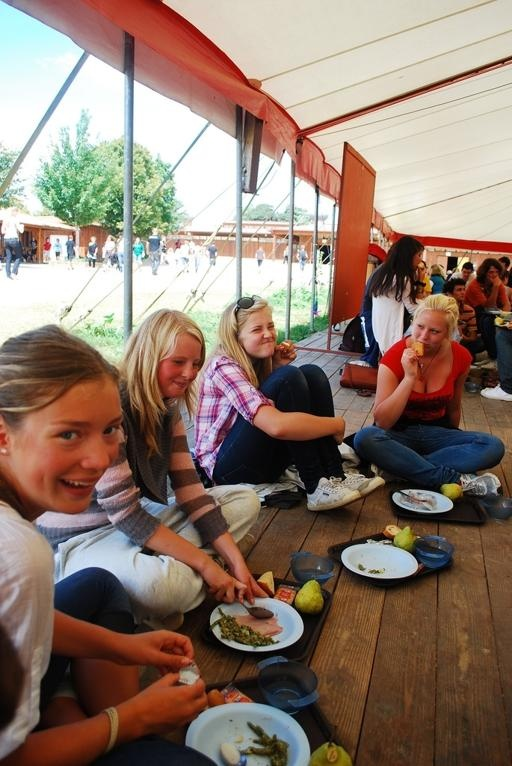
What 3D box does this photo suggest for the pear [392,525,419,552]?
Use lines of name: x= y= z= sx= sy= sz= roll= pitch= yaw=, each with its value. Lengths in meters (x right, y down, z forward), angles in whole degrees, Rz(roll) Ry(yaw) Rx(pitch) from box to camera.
pear: x=0.547 y=0.575 z=1.891 sx=0.083 sy=0.104 sz=0.082 roll=19 pitch=-14 yaw=-39

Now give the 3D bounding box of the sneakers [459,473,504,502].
sneakers: x=1.074 y=0.492 z=2.459 sx=0.241 sy=0.086 sz=0.113 roll=2 pitch=-2 yaw=41

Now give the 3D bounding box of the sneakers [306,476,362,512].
sneakers: x=0.316 y=0.481 z=2.217 sx=0.229 sy=0.102 sz=0.109 roll=-19 pitch=-4 yaw=42

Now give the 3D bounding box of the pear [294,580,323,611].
pear: x=0.158 y=0.643 z=1.569 sx=0.084 sy=0.081 sz=0.108 roll=11 pitch=49 yaw=5

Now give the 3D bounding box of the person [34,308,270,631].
person: x=-0.279 y=0.172 z=1.918 sx=0.893 sy=1.098 sz=0.929 roll=0 pitch=8 yaw=6

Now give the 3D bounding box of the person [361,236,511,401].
person: x=1.304 y=-0.778 z=4.900 sx=1.313 sy=2.185 sz=0.965 roll=-1 pitch=42 yaw=2

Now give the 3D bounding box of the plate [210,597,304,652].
plate: x=0.023 y=0.679 z=1.453 sx=0.208 sy=0.028 sz=0.204 roll=6 pitch=11 yaw=-13

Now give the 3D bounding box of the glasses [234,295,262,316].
glasses: x=-0.038 y=-0.350 z=2.290 sx=0.091 sy=0.030 sz=0.091 roll=-31 pitch=-12 yaw=36

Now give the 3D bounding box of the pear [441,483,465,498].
pear: x=0.926 y=0.506 z=2.421 sx=0.081 sy=0.065 sz=0.061 roll=11 pitch=42 yaw=40

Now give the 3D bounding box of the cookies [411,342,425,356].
cookies: x=0.818 y=-0.172 z=2.603 sx=0.070 sy=0.064 sz=0.019 roll=-11 pitch=9 yaw=-30

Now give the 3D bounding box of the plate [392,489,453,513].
plate: x=0.759 y=0.545 z=2.319 sx=0.277 sy=0.059 sz=0.185 roll=2 pitch=9 yaw=-2

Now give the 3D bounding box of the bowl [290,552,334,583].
bowl: x=0.186 y=0.613 z=1.695 sx=0.091 sy=0.047 sz=0.129 roll=-1 pitch=8 yaw=-9

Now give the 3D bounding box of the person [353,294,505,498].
person: x=0.894 y=0.023 z=2.992 sx=0.913 sy=1.128 sz=1.009 roll=-1 pitch=2 yaw=9

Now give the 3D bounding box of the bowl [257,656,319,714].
bowl: x=0.064 y=0.676 z=1.106 sx=0.123 sy=0.066 sz=0.145 roll=1 pitch=13 yaw=-3

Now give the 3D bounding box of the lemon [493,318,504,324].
lemon: x=2.498 y=-0.626 z=5.277 sx=0.082 sy=0.078 sz=0.081 roll=-1 pitch=6 yaw=-11

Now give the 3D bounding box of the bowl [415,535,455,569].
bowl: x=0.639 y=0.609 z=1.850 sx=0.111 sy=0.056 sz=0.115 roll=0 pitch=12 yaw=0

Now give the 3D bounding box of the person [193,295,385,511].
person: x=0.135 y=0.046 z=2.527 sx=1.184 sy=1.144 sz=0.623 roll=2 pitch=13 yaw=19
